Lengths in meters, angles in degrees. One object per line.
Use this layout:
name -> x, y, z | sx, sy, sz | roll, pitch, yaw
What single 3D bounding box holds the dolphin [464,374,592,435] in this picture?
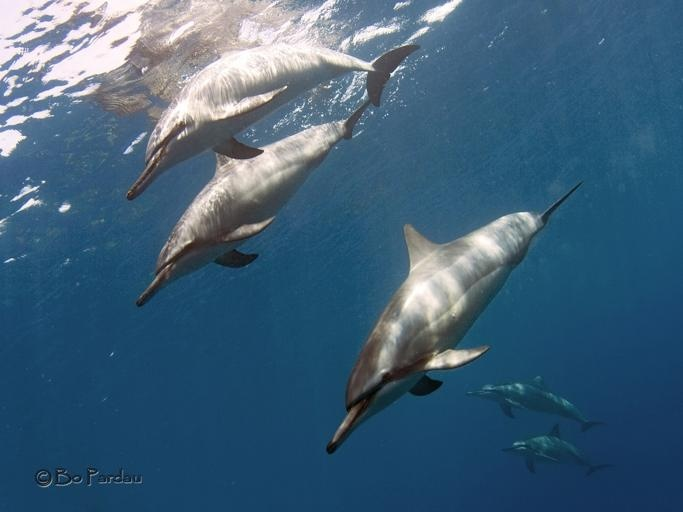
dolphin -> 7.473, 5.395, 26.042 | 4.690, 1.500, 1.846 | 10, 88, 1
